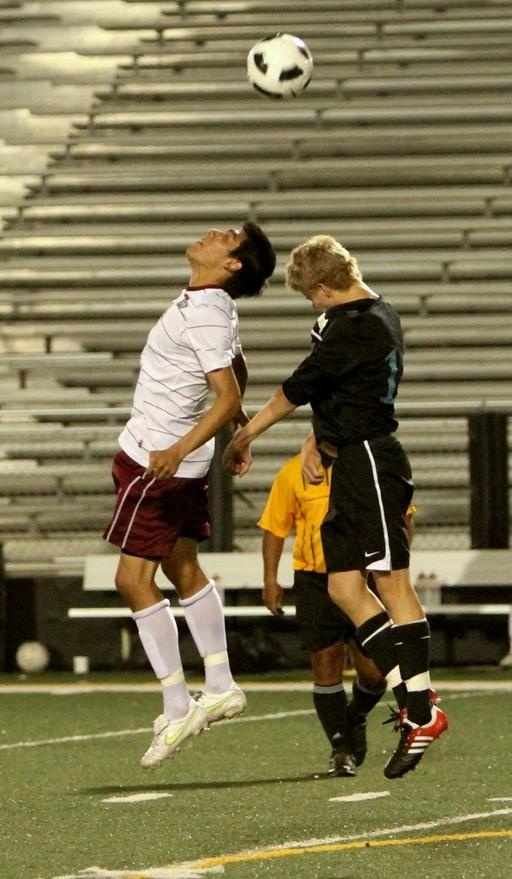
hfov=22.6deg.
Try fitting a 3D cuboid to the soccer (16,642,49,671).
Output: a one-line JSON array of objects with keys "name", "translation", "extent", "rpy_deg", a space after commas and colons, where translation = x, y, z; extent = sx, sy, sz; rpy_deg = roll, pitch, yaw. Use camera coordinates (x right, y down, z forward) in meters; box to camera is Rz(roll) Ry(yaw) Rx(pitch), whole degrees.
[{"name": "soccer", "translation": [-1.169, 1.163, 6.822], "extent": [0.195, 0.148, 0.190], "rpy_deg": [-2, -1, -22]}]

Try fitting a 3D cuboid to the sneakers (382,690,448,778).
[{"name": "sneakers", "translation": [0.390, 0.736, 3.117], "extent": [0.168, 0.186, 0.073], "rpy_deg": [-2, -1, -7]}]

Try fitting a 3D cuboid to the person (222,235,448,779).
[{"name": "person", "translation": [0.260, 0.135, 3.312], "extent": [0.486, 1.316, 0.319], "rpy_deg": [-3, -1, 44]}]

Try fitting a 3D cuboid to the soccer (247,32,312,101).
[{"name": "soccer", "translation": [0.119, -1.891, 6.467], "extent": [0.368, 0.349, 0.271], "rpy_deg": [-8, -28, -5]}]
